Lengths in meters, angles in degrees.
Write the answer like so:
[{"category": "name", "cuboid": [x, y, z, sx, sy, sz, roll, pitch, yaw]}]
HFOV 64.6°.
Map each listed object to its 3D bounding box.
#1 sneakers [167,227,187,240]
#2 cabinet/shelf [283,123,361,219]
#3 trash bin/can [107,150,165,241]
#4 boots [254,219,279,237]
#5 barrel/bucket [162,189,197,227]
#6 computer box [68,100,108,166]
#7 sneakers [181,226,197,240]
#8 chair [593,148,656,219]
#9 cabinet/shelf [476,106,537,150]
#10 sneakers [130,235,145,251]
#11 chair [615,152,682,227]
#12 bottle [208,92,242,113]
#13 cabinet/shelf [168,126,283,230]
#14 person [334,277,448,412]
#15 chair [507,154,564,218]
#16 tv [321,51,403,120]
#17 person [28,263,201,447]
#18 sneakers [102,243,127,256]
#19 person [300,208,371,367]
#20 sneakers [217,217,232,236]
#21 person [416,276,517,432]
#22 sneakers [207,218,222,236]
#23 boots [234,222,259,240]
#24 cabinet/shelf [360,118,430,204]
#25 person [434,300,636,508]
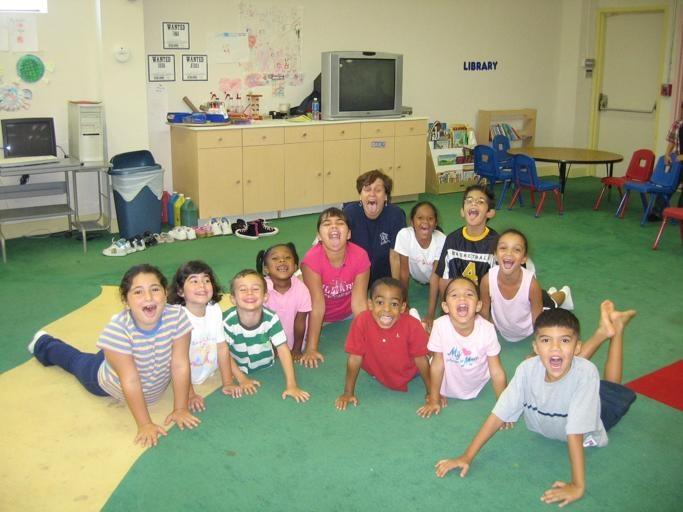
[{"category": "sneakers", "cuboid": [-1.813, -0.234, 5.989, 0.113, 0.086, 0.201, -11, 19, -40]}, {"category": "cabinet/shelf", "cuboid": [-0.326, -1.207, 7.077, 1.153, 1.051, 0.413, -11, 23, -30]}, {"category": "trash bin/can", "cuboid": [-2.278, -0.656, 6.009, 0.524, 0.915, 0.503, -14, 23, -40]}, {"category": "boots", "cuboid": [-0.898, -0.313, 6.226, 0.317, 0.198, 0.126, -9, 20, -27]}, {"category": "barrel/bucket", "cuboid": [-1.911, -0.547, 6.389, 0.419, 0.351, 0.136, 9, 11, 43]}, {"category": "computer box", "cuboid": [-2.717, -1.307, 5.762, 0.391, 0.618, 0.536, -9, 19, -25]}, {"category": "sneakers", "cuboid": [-1.678, -0.228, 6.004, 0.071, 0.074, 0.183, -11, 25, -27]}, {"category": "chair", "cuboid": [3.760, -0.949, 7.078, 0.555, 0.779, 0.506, -6, 21, -13]}, {"category": "cabinet/shelf", "cuboid": [2.652, -2.060, 8.765, 0.901, 0.878, 0.300, -7, 27, -15]}, {"category": "sneakers", "cuboid": [-2.120, -0.104, 5.622, 0.080, 0.097, 0.218, -7, 14, -33]}, {"category": "chair", "cuboid": [3.969, -0.858, 6.879, 0.611, 0.784, 1.201, 14, 23, 39]}, {"category": "bottle", "cuboid": [-1.448, -1.881, 6.685, 0.306, 0.249, 0.508, 8, 20, 25]}, {"category": "cabinet/shelf", "cuboid": [-1.305, -1.150, 6.648, 1.064, 1.019, 0.710, -9, 28, -26]}, {"category": "person", "cuboid": [0.285, 0.425, 3.198, 0.605, 0.817, 0.711, 5, 40, 11]}, {"category": "chair", "cuboid": [2.619, -0.951, 7.250, 0.551, 0.793, 0.580, -9, 18, -25]}, {"category": "tv", "cuboid": [0.200, -2.257, 7.304, 1.177, 0.857, 0.643, -11, 19, -32]}, {"category": "person", "cuboid": [-1.201, 0.395, 3.104, 0.621, 0.736, 1.099, -15, 32, -41]}, {"category": "sneakers", "cuboid": [-2.312, -0.051, 5.485, 0.208, 0.092, 0.111, 4, 8, 13]}, {"category": "person", "cuboid": [-0.022, 0.203, 3.611, 0.504, 0.984, 1.032, -1, 15, -3]}, {"category": "sneakers", "cuboid": [-1.345, -0.323, 6.260, 0.116, 0.228, 0.087, -12, -21, -16]}, {"category": "person", "cuboid": [0.707, 0.514, 2.941, 0.526, 0.728, 0.558, -15, 18, -42]}, {"category": "sneakers", "cuboid": [-1.444, -0.312, 6.168, 0.140, 0.076, 0.208, -23, 67, -26]}, {"category": "boots", "cuboid": [-1.088, -0.272, 6.103, 0.329, 0.159, 0.158, 9, 20, 29]}, {"category": "cabinet/shelf", "cuboid": [0.656, -1.336, 7.611, 1.232, 1.182, 0.537, -7, 21, -15]}, {"category": "person", "cuboid": [1.119, 0.502, 2.857, 0.646, 0.628, 1.287, 11, 38, 42]}]
